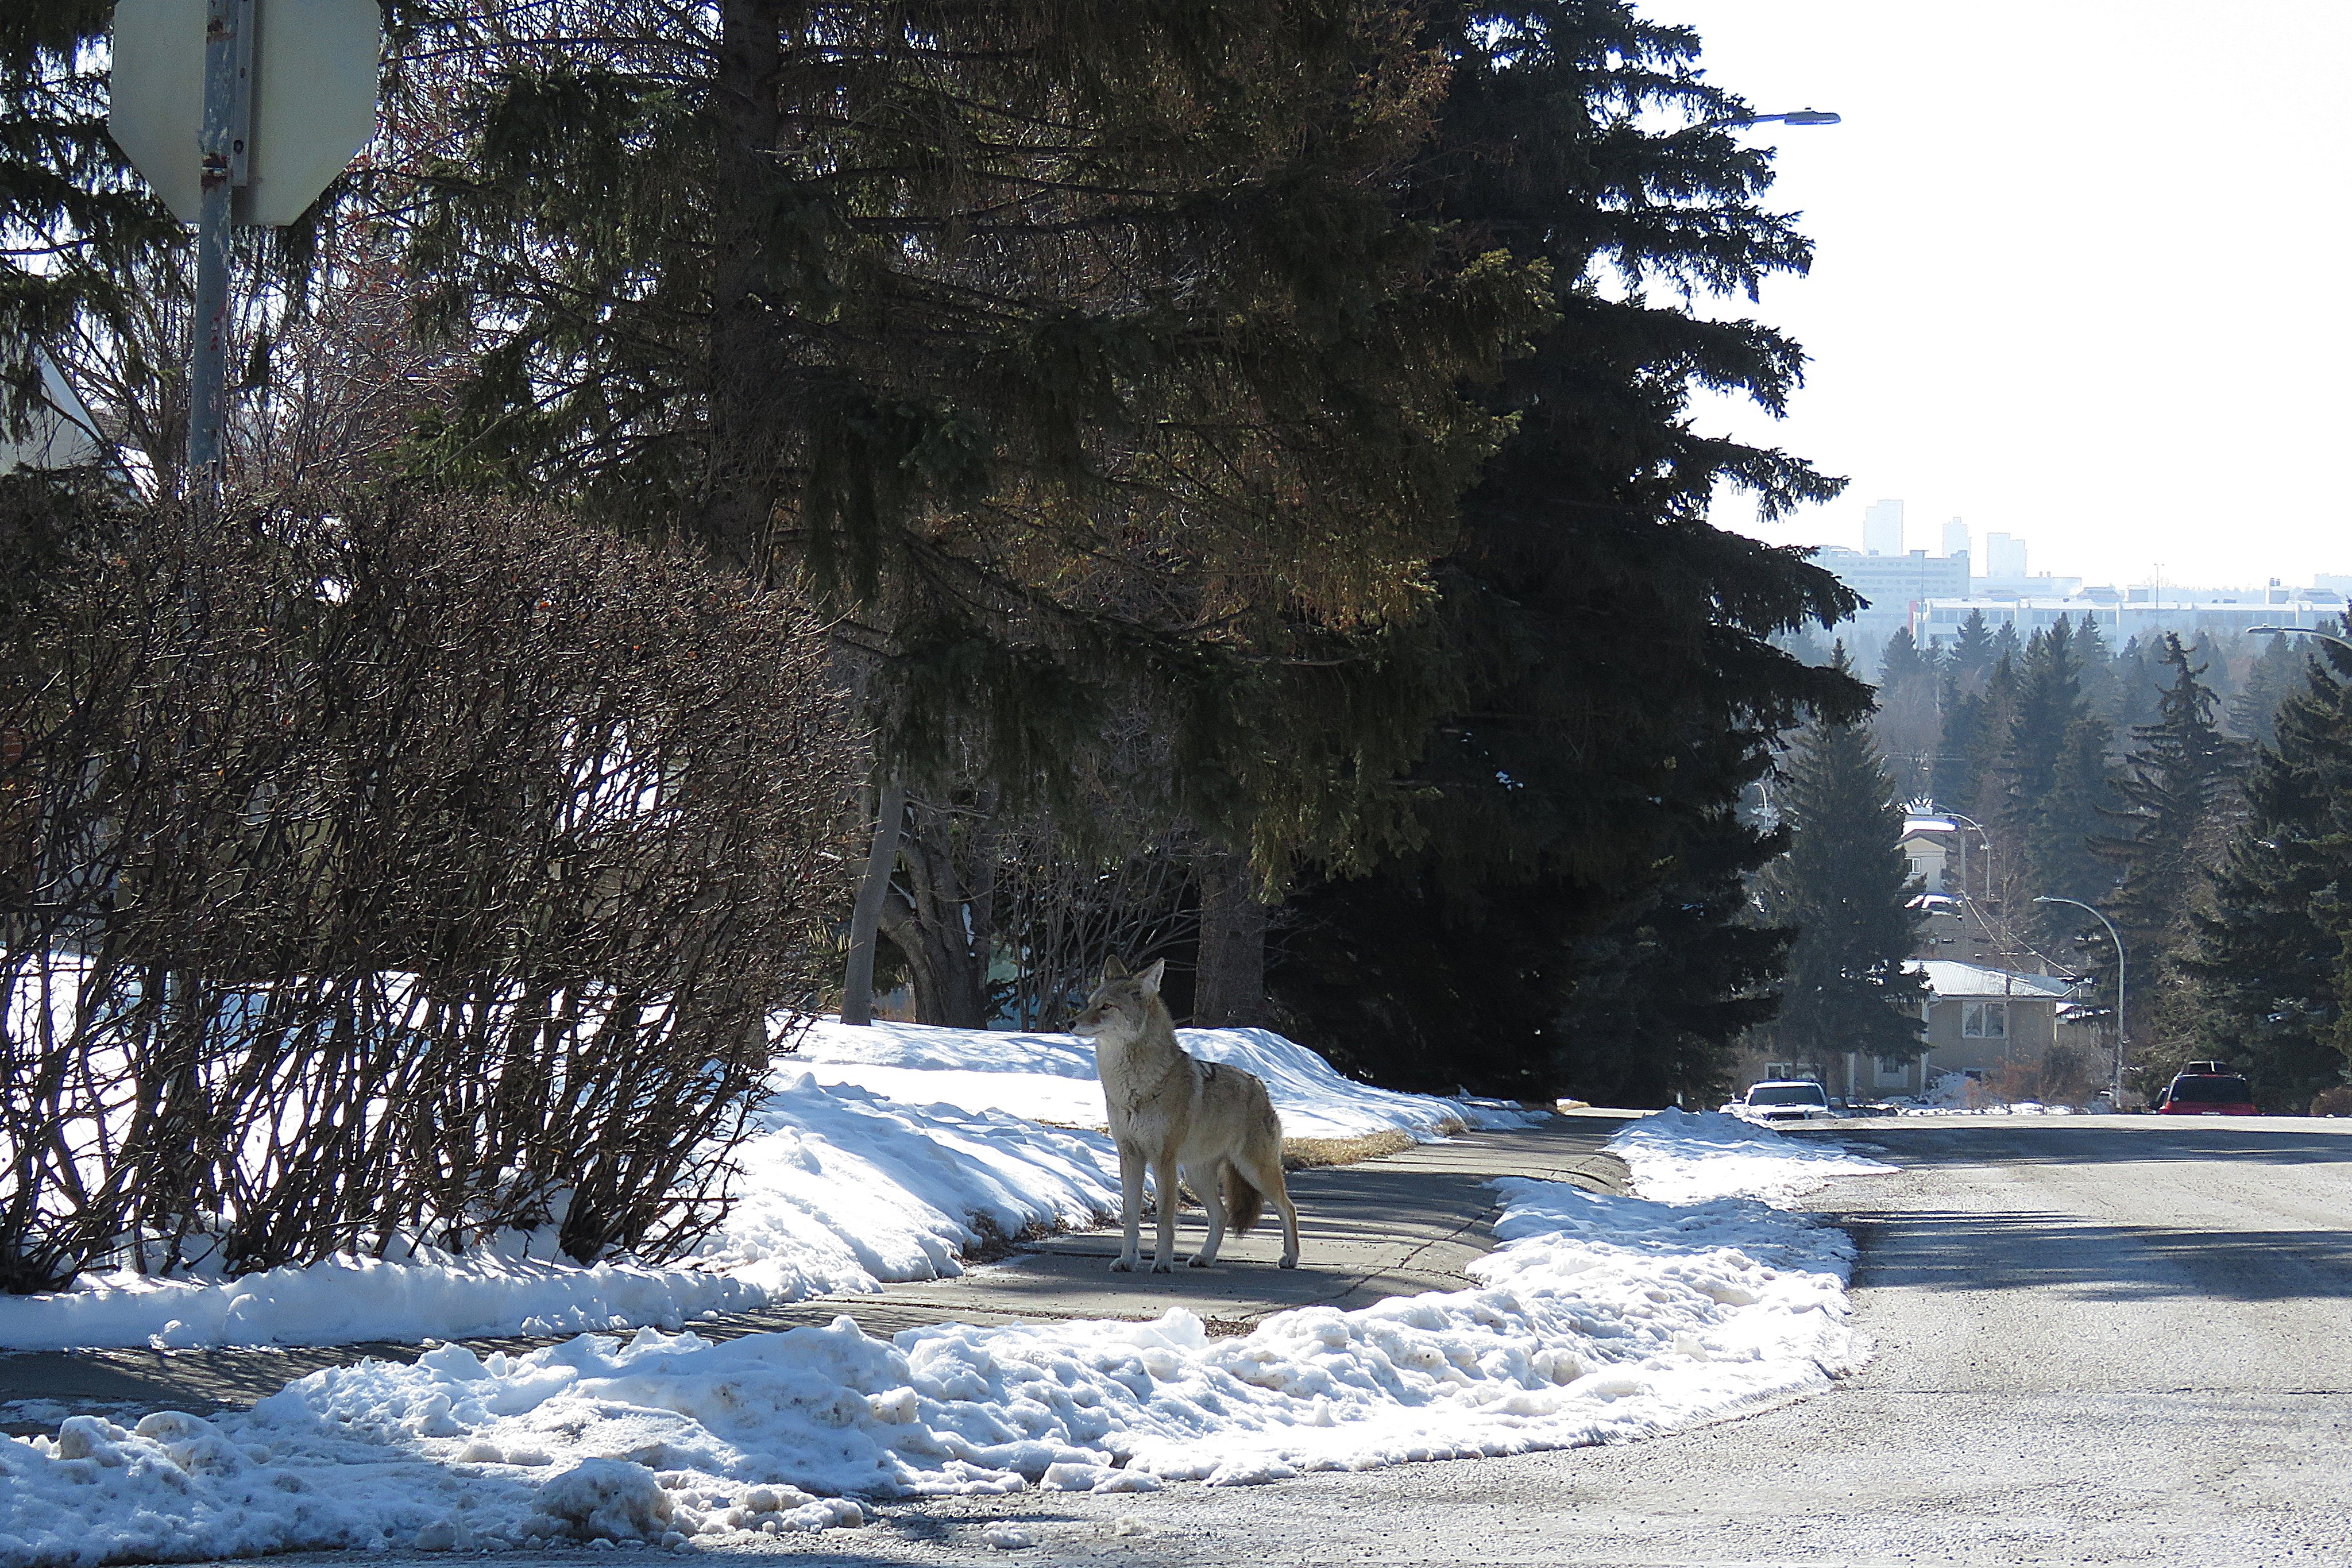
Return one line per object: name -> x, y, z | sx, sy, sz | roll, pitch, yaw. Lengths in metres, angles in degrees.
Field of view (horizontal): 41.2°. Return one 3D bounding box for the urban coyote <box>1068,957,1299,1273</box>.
urban coyote -> 0.081, 1.982, 18.635 | 0.945, 1.351, 1.188 | 1, -2, 30
